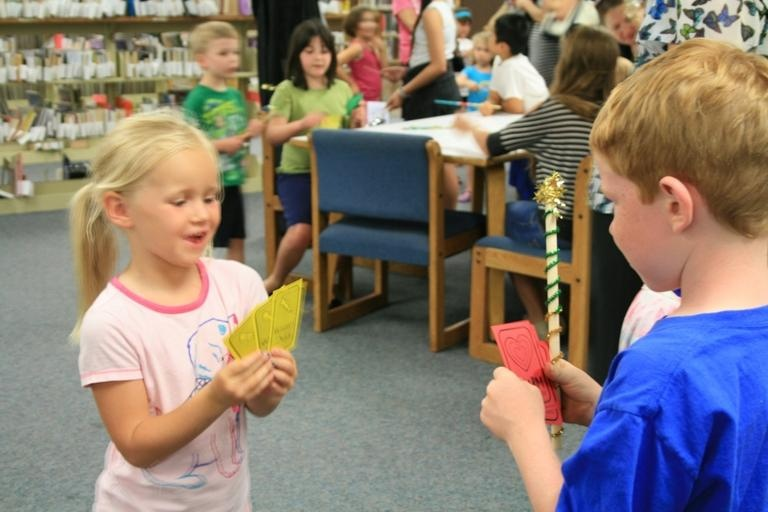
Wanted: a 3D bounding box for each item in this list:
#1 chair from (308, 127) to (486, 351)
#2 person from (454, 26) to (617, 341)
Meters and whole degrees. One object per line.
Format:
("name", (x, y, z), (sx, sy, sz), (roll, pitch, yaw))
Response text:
("chair", (0.037, -0.080, 3.299), (0.809, 1.058, 0.666), (10, 22, 31))
("person", (0.675, -0.300, 3.082), (0.604, 1.267, 0.736), (-6, 11, -12))
